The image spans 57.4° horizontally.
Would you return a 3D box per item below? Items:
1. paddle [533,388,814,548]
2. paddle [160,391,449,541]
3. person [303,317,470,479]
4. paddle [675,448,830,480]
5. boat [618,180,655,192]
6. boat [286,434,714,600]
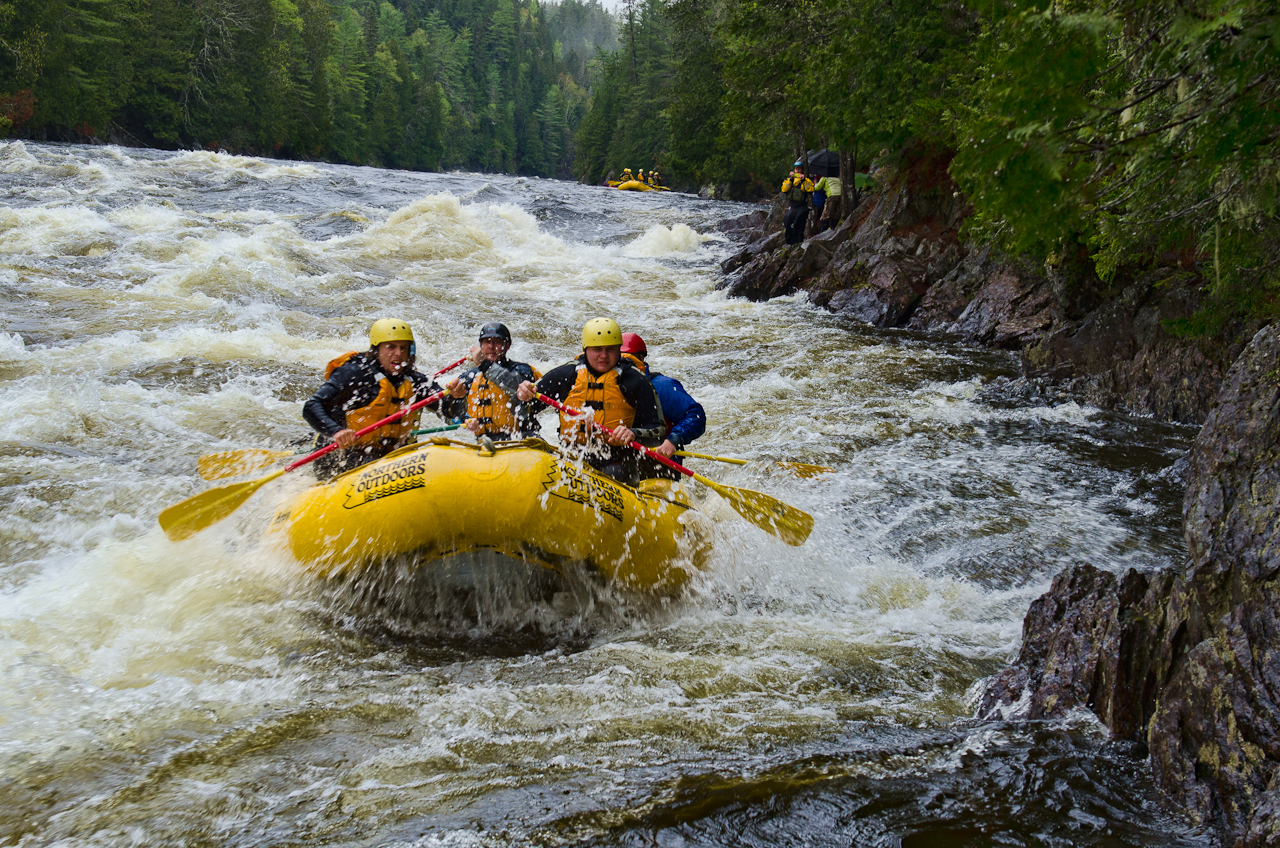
[{"bbox_3d":[0.268,0.456,10.715,2.964,0.416,0.144,28,12,7],"label":"paddle"},{"bbox_3d":[-2.938,0.409,10.280,2.910,0.318,0.150,-26,6,-18],"label":"paddle"},{"bbox_3d":[-2.410,0.288,10.900,1.236,2.515,1.190,-1,12,-22],"label":"person"},{"bbox_3d":[1.161,0.425,11.893,1.333,0.148,0.090,12,11,34],"label":"paddle"},{"bbox_3d":[-0.212,-11.187,54.999,1.517,0.357,2.604,4,23,-7],"label":"boat"},{"bbox_3d":[-0.771,0.842,11.236,3.452,1.331,4.299,8,3,13],"label":"boat"}]
